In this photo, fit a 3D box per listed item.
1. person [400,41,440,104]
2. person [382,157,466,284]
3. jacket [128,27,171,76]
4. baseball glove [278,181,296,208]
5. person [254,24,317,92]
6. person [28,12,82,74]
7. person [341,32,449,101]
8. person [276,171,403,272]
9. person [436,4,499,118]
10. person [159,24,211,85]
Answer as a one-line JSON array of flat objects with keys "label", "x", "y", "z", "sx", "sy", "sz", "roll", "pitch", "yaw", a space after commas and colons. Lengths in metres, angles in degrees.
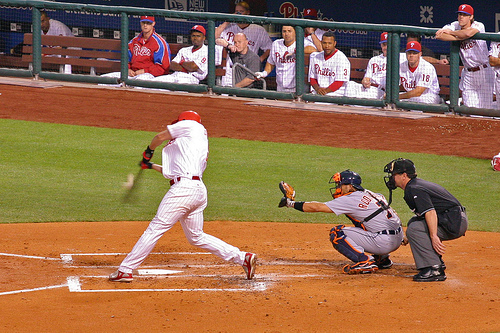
[{"label": "person", "x": 3.695, "y": -2.003, "z": 20.201, "sx": 0.871, "sy": 1.298, "sz": 0.638, "roll": 3, "pitch": 5, "yaw": 9}, {"label": "person", "x": 2.451, "y": 0.764, "z": 13.087, "sx": 1.130, "sy": 1.691, "sz": 0.430, "roll": 3, "pitch": 5, "yaw": 10}, {"label": "jacket", "x": -2.422, "y": -2.633, "z": 21.900, "sx": 1.127, "sy": 1.014, "sz": 0.669, "roll": 3, "pitch": 5, "yaw": 11}, {"label": "baseball glove", "x": 0.523, "y": 0.414, "z": 13.548, "sx": 0.283, "sy": 0.362, "sz": 0.158, "roll": -4, "pitch": 8, "yaw": -3}, {"label": "person", "x": 0.830, "y": -2.479, "z": 21.149, "sx": 1.620, "sy": 2.208, "sz": 0.790, "roll": 4, "pitch": 21, "yaw": 10}, {"label": "person", "x": -4.857, "y": -2.982, "z": 23.217, "sx": 0.876, "sy": 1.648, "sz": 1.154, "roll": 7, "pitch": 25, "yaw": 39}, {"label": "person", "x": 2.938, "y": -2.082, "z": 20.688, "sx": 2.060, "sy": 1.385, "sz": 0.925, "roll": 4, "pitch": 18, "yaw": -9}, {"label": "person", "x": 1.387, "y": 0.795, "z": 13.612, "sx": 2.039, "sy": 1.226, "sz": 1.189, "roll": 0, "pitch": 5, "yaw": -26}, {"label": "person", "x": 4.727, "y": -2.221, "z": 19.921, "sx": 1.234, "sy": 2.372, "sz": 0.794, "roll": 4, "pitch": 5, "yaw": 16}, {"label": "person", "x": -1.550, "y": -2.496, "z": 21.684, "sx": 1.229, "sy": 1.494, "sz": 1.467, "roll": 9, "pitch": 12, "yaw": 31}]
